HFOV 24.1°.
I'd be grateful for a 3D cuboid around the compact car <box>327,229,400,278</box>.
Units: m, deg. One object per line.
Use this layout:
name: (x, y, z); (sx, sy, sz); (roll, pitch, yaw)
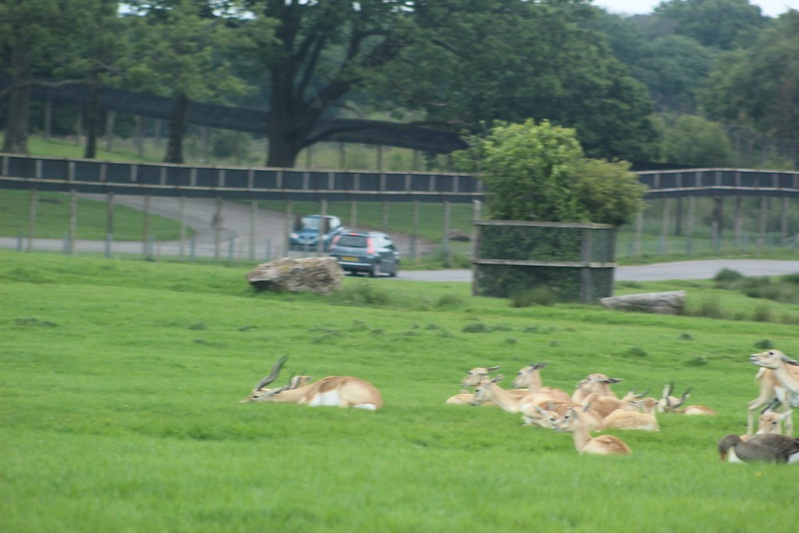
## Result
compact car: (-2.257, -0.831, 115.855); (2.020, 2.729, 4.141); (3, 1, 42)
